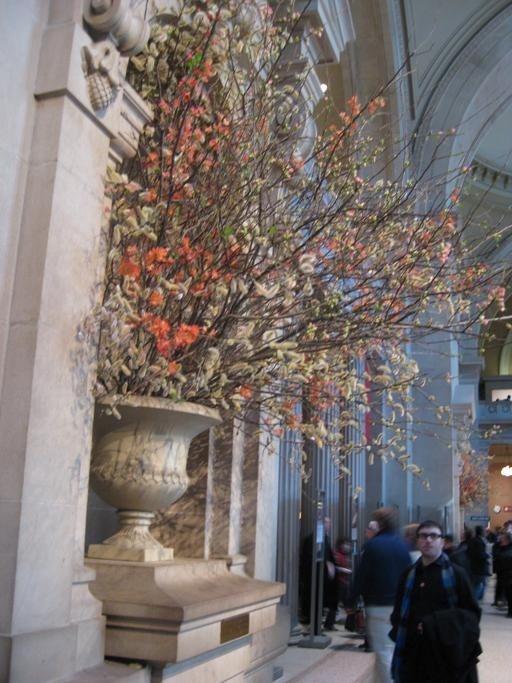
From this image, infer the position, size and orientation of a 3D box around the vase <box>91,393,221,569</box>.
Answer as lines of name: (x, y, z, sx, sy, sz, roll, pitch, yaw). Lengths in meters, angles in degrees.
vase: (-0.383, 0.528, 2.414, 0.491, 0.596, 0.598, 8, -16, -19)
